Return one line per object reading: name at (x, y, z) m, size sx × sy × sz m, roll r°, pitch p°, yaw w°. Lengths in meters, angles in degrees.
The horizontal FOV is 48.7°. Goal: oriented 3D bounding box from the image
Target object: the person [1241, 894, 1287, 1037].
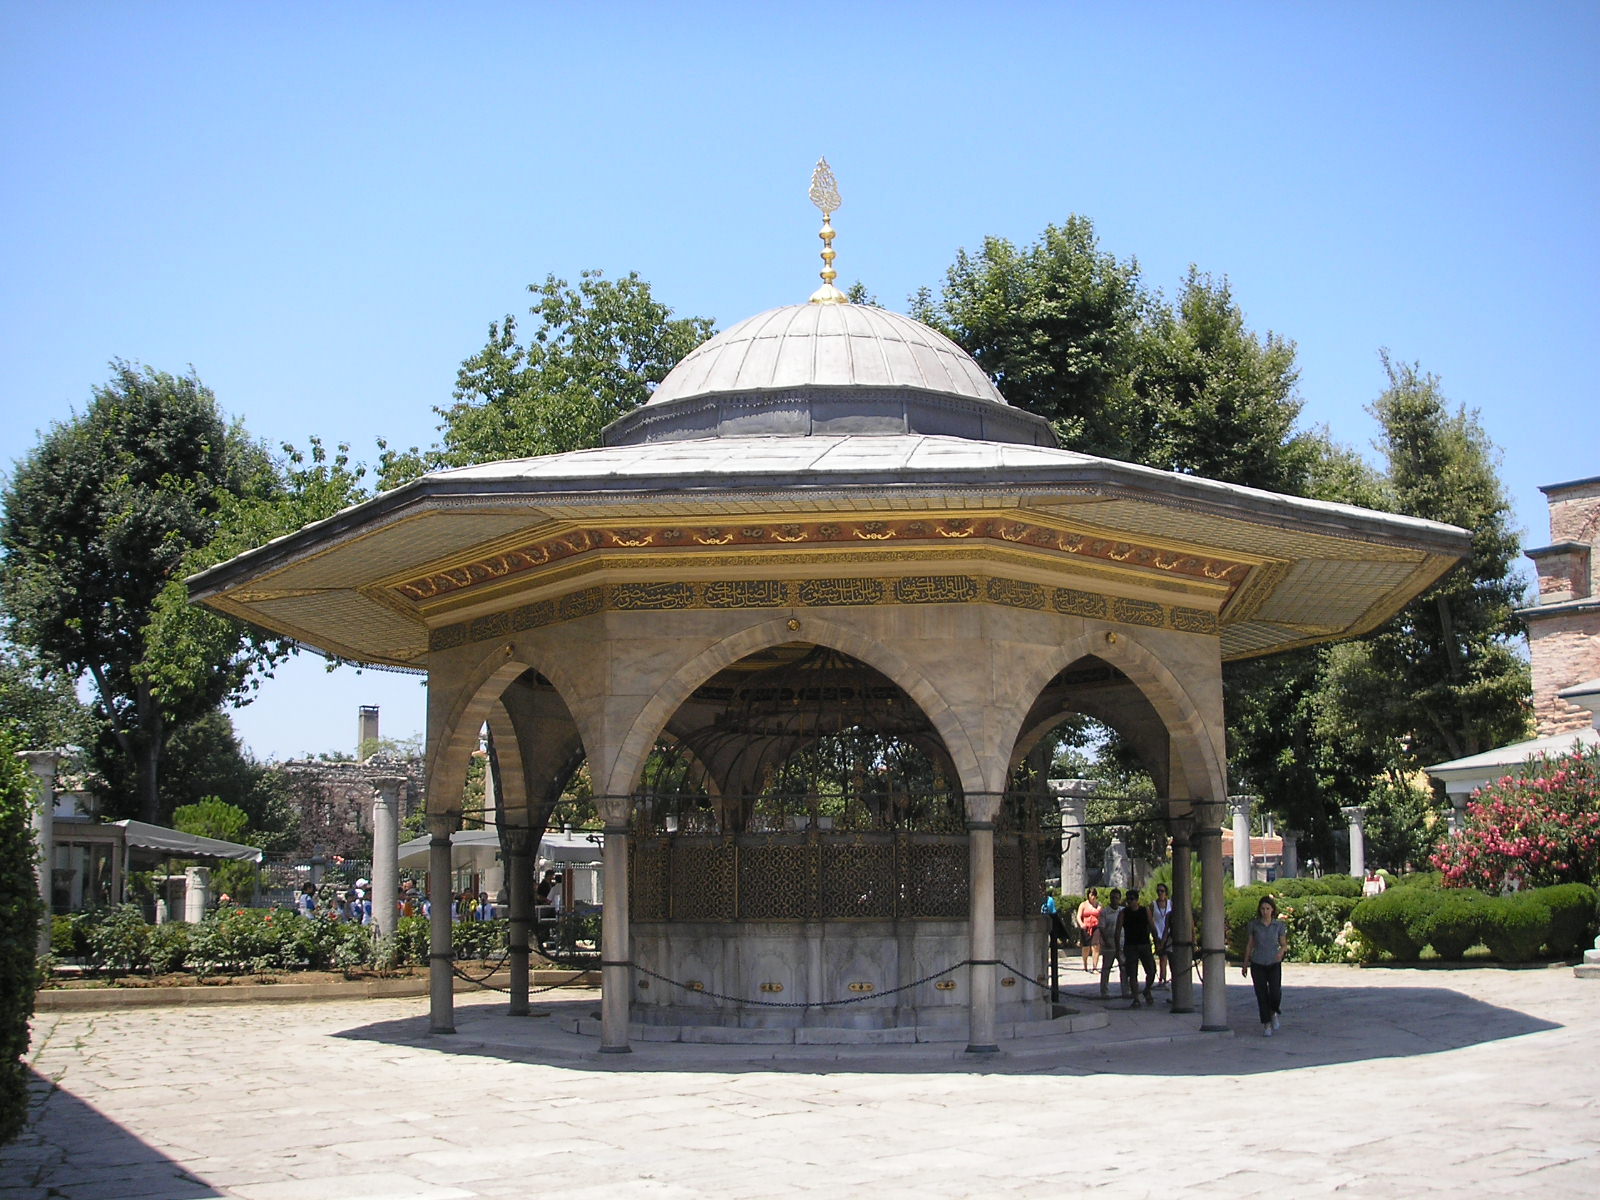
person at (5.200, 4.037, 19.639) m, size 0.385 × 1.488 × 1.409 m, roll -4°, pitch -12°, yaw 15°
